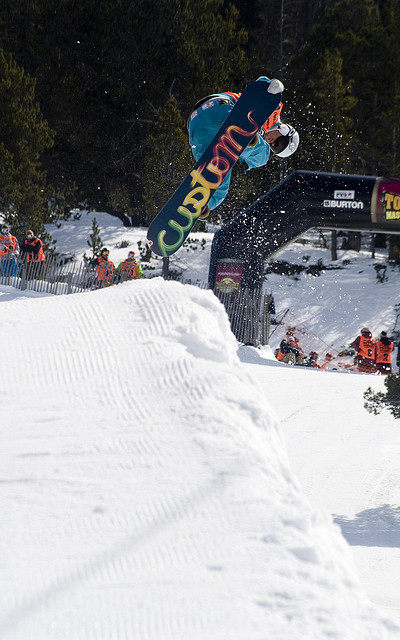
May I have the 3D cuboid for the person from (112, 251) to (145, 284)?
[{"bbox_3d":[-1.373,-1.003,16.186,0.536,0.671,0.796,2,12,-19],"label":"person"}]

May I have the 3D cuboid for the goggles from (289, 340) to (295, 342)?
[{"bbox_3d":[1.730,0.389,15.630,0.120,0.043,0.036,-4,14,-40],"label":"goggles"}]

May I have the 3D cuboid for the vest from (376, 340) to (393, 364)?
[{"bbox_3d":[3.162,0.546,14.352,0.254,0.412,0.270,7,11,9],"label":"vest"}]

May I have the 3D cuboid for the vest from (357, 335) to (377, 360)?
[{"bbox_3d":[3.001,0.497,15.053,0.319,0.403,0.225,8,22,9],"label":"vest"}]

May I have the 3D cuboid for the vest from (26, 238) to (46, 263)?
[{"bbox_3d":[-3.239,-1.405,16.742,0.431,0.476,0.447,-2,13,-33],"label":"vest"}]

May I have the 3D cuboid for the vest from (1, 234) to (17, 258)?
[{"bbox_3d":[-3.802,-1.479,16.702,0.190,0.464,0.372,12,12,29],"label":"vest"}]

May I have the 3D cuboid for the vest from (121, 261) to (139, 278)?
[{"bbox_3d":[-1.360,-0.985,16.184,0.334,0.306,0.225,5,11,-5],"label":"vest"}]

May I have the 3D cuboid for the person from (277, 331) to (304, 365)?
[{"bbox_3d":[1.699,0.545,15.802,0.561,0.923,0.408,2,2,15],"label":"person"}]

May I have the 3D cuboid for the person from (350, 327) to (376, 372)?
[{"bbox_3d":[2.989,0.524,15.150,0.405,0.761,0.854,8,11,10],"label":"person"}]

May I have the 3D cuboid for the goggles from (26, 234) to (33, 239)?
[{"bbox_3d":[-3.438,-1.684,16.847,0.162,0.093,0.112,5,-6,6],"label":"goggles"}]

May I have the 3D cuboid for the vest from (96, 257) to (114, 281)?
[{"bbox_3d":[-1.822,-0.989,16.099,0.316,0.444,0.241,4,11,-9],"label":"vest"}]

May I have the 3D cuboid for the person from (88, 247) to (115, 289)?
[{"bbox_3d":[-1.889,-1.022,16.145,0.439,0.775,0.435,3,-2,-31],"label":"person"}]

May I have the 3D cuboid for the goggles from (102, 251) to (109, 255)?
[{"bbox_3d":[-1.796,-1.287,15.896,0.089,0.064,0.104,1,12,-23],"label":"goggles"}]
